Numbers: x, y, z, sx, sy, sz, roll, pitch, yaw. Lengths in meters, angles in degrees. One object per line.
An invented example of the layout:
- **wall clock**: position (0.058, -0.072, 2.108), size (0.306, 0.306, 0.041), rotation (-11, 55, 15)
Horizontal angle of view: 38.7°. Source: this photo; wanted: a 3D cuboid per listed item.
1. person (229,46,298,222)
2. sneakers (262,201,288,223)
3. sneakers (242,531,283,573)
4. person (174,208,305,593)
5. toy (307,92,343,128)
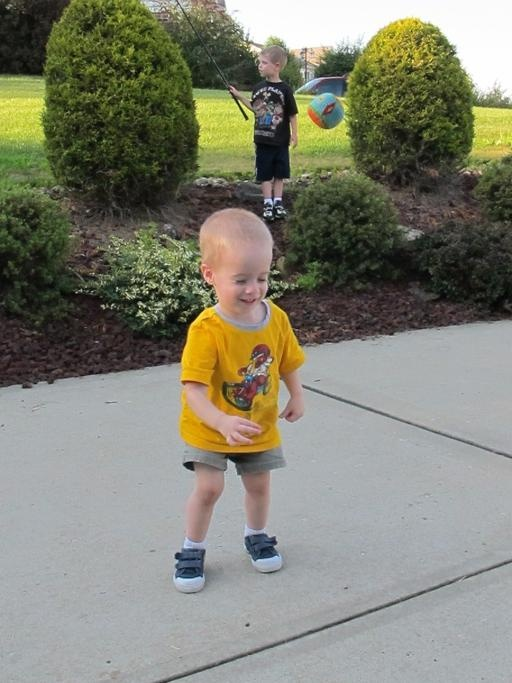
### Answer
- **person**: position (0.092, -2.110, 7.388), size (0.612, 1.731, 0.791), rotation (1, 17, 2)
- **sneakers**: position (0.179, -1.328, 7.404), size (0.144, 0.129, 0.342), rotation (-3, 9, -9)
- **sneakers**: position (0.028, 0.710, 2.428), size (0.078, 0.050, 0.152), rotation (-3, 9, -19)
- **person**: position (-0.057, 0.170, 2.371), size (0.414, 1.172, 0.562), rotation (1, 17, 3)
- **toy**: position (0.718, -2.412, 7.608), size (0.339, 0.348, 0.321), rotation (1, 16, 2)
